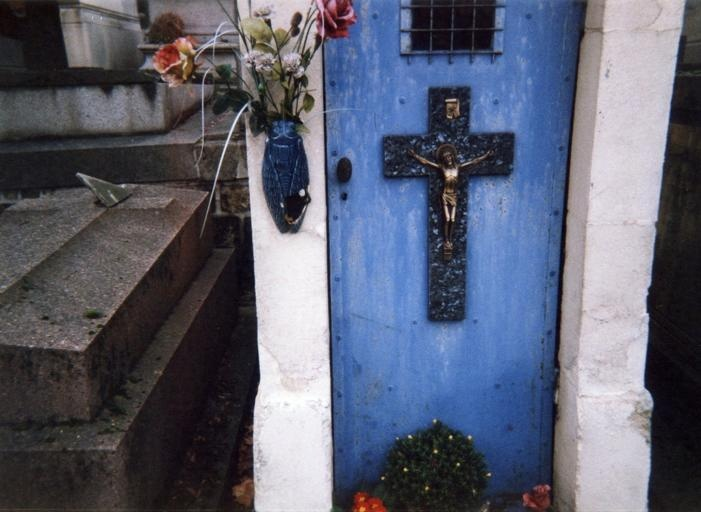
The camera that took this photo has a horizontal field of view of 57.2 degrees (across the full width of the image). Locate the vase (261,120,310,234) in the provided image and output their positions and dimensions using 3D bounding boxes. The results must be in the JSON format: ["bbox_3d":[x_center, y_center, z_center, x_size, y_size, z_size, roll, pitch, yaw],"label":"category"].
[{"bbox_3d":[-0.336,-0.399,3.341,0.237,0.599,0.093,-3,17,-7],"label":"vase"}]
